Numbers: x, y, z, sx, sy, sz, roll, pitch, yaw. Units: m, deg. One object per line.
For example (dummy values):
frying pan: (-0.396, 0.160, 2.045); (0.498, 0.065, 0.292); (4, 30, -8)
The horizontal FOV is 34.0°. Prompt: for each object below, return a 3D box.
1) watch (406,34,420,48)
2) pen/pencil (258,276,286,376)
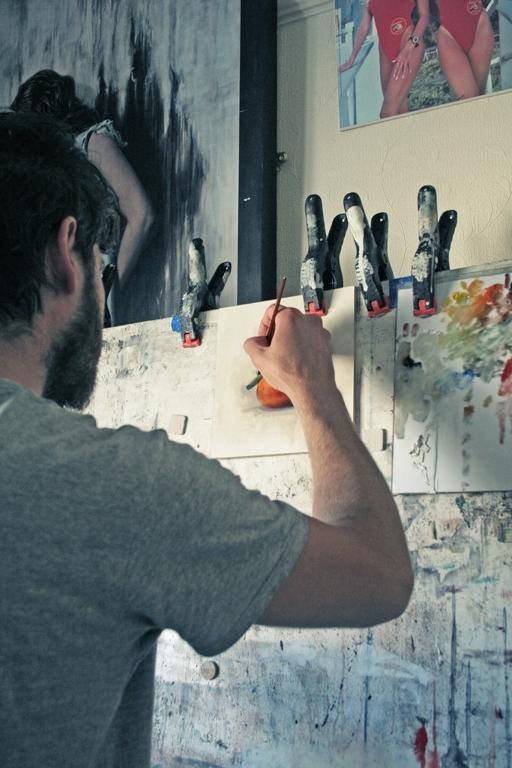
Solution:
watch: (0.269, -0.581, 1.423); (0.014, 0.024, 0.010); (1, -1, 36)
pen/pencil: (0.021, -0.079, 1.171); (0.017, 0.161, 0.024); (9, 8, -15)
